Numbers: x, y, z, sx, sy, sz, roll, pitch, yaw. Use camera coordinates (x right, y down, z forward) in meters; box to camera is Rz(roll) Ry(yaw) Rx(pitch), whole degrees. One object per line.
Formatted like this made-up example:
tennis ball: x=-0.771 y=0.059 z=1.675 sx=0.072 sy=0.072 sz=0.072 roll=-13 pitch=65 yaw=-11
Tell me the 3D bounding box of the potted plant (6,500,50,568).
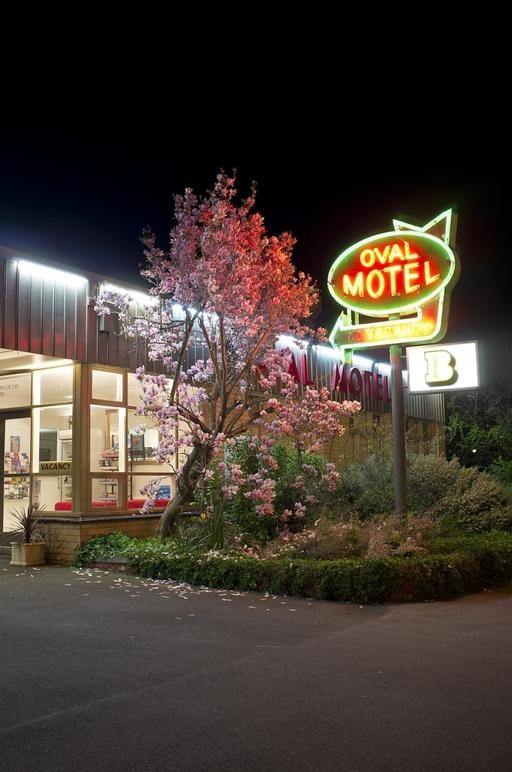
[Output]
potted plant: x=-4.480 y=2.999 z=11.813 sx=0.715 sy=1.105 sz=0.697 roll=-4 pitch=-10 yaw=11
